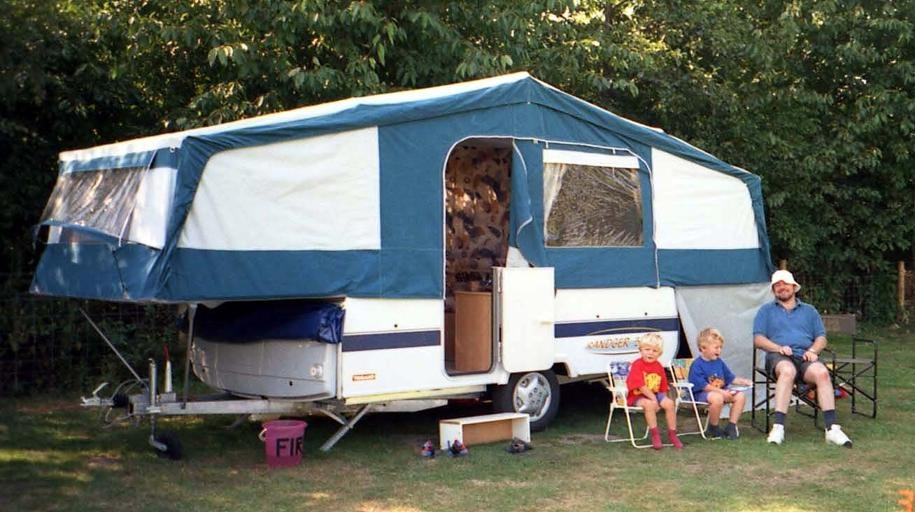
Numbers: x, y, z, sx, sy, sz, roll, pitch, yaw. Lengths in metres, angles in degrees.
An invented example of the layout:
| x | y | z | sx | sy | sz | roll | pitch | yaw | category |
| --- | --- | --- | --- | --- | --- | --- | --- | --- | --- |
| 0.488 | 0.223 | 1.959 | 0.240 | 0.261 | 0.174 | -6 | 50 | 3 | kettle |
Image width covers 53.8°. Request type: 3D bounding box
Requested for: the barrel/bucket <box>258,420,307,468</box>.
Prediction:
| x | y | z | sx | sy | sz | roll | pitch | yaw | category |
| --- | --- | --- | --- | --- | --- | --- | --- | --- | --- |
| -2.365 | 2.578 | 12.188 | 0.477 | 0.510 | 0.765 | -6 | -9 | 36 | barrel/bucket |

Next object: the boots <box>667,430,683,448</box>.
| x | y | z | sx | sy | sz | roll | pitch | yaw | category |
| --- | --- | --- | --- | --- | --- | --- | --- | --- | --- |
| 3.071 | 2.558 | 12.693 | 0.150 | 0.211 | 0.270 | -7 | 14 | -30 | boots |

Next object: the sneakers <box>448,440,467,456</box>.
| x | y | z | sx | sy | sz | roll | pitch | yaw | category |
| --- | --- | --- | --- | --- | --- | --- | --- | --- | --- |
| 0.007 | 2.638 | 12.307 | 0.222 | 0.091 | 0.155 | 3 | 21 | -25 | sneakers |

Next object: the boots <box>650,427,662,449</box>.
| x | y | z | sx | sy | sz | roll | pitch | yaw | category |
| --- | --- | --- | --- | --- | --- | --- | --- | --- | --- |
| 2.819 | 2.513 | 12.795 | 0.172 | 0.301 | 0.524 | 3 | 12 | 13 | boots |

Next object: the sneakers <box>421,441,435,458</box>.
| x | y | z | sx | sy | sz | roll | pitch | yaw | category |
| --- | --- | --- | --- | --- | --- | --- | --- | --- | --- |
| -0.392 | 2.661 | 12.375 | 0.150 | 0.080 | 0.199 | 1 | -1 | 9 | sneakers |

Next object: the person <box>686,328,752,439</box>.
| x | y | z | sx | sy | sz | roll | pitch | yaw | category |
| --- | --- | --- | --- | --- | --- | --- | --- | --- | --- |
| 3.758 | 1.854 | 13.068 | 0.835 | 1.519 | 0.586 | 4 | 13 | 16 | person |

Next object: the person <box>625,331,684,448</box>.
| x | y | z | sx | sy | sz | roll | pitch | yaw | category |
| --- | --- | --- | --- | --- | --- | --- | --- | --- | --- |
| 2.785 | 1.904 | 12.755 | 0.801 | 1.554 | 0.699 | 2 | 13 | 9 | person |

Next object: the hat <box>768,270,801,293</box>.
| x | y | z | sx | sy | sz | roll | pitch | yaw | category |
| --- | --- | --- | --- | --- | --- | --- | --- | --- | --- |
| 4.930 | 0.355 | 13.704 | 0.396 | 0.247 | 0.497 | 1 | -12 | 10 | hat |

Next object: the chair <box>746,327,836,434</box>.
| x | y | z | sx | sy | sz | roll | pitch | yaw | category |
| --- | --- | --- | --- | --- | --- | --- | --- | --- | --- |
| 5.027 | 1.616 | 13.315 | 0.857 | 1.482 | 1.169 | 7 | 4 | 8 | chair |

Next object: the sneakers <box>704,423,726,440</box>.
| x | y | z | sx | sy | sz | roll | pitch | yaw | category |
| --- | --- | --- | --- | --- | --- | --- | --- | --- | --- |
| 3.758 | 2.571 | 13.084 | 0.346 | 0.225 | 0.153 | -8 | -5 | 38 | sneakers |

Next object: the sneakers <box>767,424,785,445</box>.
| x | y | z | sx | sy | sz | roll | pitch | yaw | category |
| --- | --- | --- | --- | --- | --- | --- | --- | --- | --- |
| 4.544 | 2.507 | 12.877 | 0.230 | 0.250 | 0.386 | 4 | 12 | 18 | sneakers |
